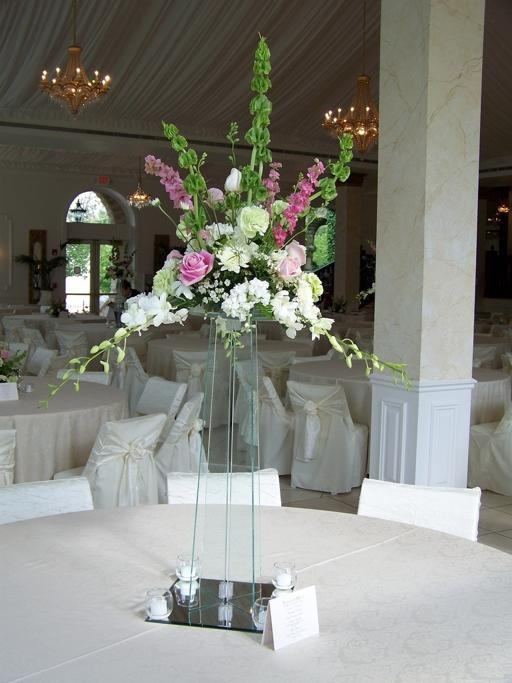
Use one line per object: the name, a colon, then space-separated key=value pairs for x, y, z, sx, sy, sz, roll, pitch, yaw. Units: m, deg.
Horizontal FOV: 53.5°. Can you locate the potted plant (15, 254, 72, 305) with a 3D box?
potted plant: x=-6.506 y=-1.879 z=15.727 sx=1.377 sy=1.408 sz=1.386 roll=2 pitch=-1 yaw=8

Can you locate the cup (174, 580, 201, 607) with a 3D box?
cup: x=-0.146 y=0.531 z=1.082 sx=0.040 sy=0.040 sz=0.040 roll=1 pitch=-3 yaw=0

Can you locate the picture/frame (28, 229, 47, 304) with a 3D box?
picture/frame: x=-6.462 y=-2.150 z=15.129 sx=0.520 sy=2.542 sz=0.039 roll=-3 pitch=-14 yaw=-17

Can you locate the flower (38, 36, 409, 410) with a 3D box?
flower: x=-0.103 y=-0.216 z=1.118 sx=0.208 sy=0.437 sz=0.475 roll=32 pitch=48 yaw=29

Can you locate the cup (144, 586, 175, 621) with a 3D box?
cup: x=-0.189 y=0.518 z=1.000 sx=0.049 sy=0.049 sz=0.049 roll=2 pitch=2 yaw=0

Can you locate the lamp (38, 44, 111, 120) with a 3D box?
lamp: x=-2.511 y=-3.726 z=7.211 sx=0.959 sy=0.928 sz=0.940 roll=2 pitch=21 yaw=-14

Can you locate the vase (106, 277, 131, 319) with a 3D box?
vase: x=-2.397 y=-0.742 z=9.218 sx=0.271 sy=0.771 sz=0.273 roll=-8 pitch=13 yaw=-8

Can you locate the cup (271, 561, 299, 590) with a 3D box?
cup: x=0.060 y=0.490 z=1.086 sx=0.054 sy=0.054 sz=0.054 roll=-3 pitch=-4 yaw=0

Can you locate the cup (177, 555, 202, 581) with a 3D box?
cup: x=-0.149 y=0.495 z=1.107 sx=0.058 sy=0.057 sz=0.058 roll=2 pitch=5 yaw=0
